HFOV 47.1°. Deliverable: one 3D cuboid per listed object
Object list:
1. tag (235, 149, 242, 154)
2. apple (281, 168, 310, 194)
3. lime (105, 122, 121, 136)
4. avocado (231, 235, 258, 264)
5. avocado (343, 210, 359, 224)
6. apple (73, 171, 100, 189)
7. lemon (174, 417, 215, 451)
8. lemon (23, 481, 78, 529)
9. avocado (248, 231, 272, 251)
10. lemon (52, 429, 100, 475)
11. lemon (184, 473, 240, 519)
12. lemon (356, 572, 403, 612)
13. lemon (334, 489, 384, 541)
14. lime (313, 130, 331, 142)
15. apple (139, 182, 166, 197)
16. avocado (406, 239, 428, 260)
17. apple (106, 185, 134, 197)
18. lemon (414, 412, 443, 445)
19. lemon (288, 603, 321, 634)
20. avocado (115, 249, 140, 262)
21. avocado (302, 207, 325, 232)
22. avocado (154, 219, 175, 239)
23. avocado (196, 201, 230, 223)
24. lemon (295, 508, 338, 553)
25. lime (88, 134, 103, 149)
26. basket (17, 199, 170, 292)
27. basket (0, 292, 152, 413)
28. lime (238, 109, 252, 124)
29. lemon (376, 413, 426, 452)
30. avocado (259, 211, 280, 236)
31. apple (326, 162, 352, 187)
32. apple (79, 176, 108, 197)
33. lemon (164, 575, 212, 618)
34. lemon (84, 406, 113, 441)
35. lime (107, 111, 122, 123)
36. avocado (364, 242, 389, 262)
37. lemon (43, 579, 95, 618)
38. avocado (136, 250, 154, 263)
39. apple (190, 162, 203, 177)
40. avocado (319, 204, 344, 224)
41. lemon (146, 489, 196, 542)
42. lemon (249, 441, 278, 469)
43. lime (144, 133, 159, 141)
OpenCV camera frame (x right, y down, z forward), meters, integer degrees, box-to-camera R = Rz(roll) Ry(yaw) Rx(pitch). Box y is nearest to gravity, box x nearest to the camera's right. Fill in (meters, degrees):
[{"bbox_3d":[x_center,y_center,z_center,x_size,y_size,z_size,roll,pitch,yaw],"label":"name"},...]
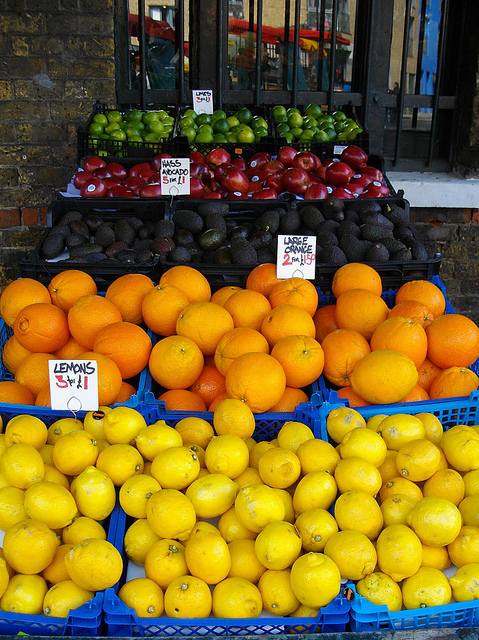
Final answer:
[{"bbox_3d":[-0.005,-1.003,3.249,0.035,0.028,0.008,-1,7,1],"label":"tag"},{"bbox_3d":[0.280,-0.685,2.708,0.136,0.121,0.159,-19,19,5],"label":"apple"},{"bbox_3d":[-0.749,-1.130,3.260,0.088,0.079,0.092,1,56,-6],"label":"lime"},{"bbox_3d":[0.017,-0.248,1.993,0.074,0.061,0.113,-25,38,-6],"label":"avocado"},{"bbox_3d":[0.457,-0.426,2.248,0.061,0.034,0.059,23,41,16],"label":"avocado"},{"bbox_3d":[-0.770,-0.703,2.765,0.121,0.049,0.089,-3,24,-22],"label":"apple"},{"bbox_3d":[-0.107,0.253,1.284,0.089,0.064,0.070,12,31,17],"label":"lemon"},{"bbox_3d":[-0.322,0.338,0.986,0.102,0.070,0.077,-15,-5,28],"label":"lemon"},{"bbox_3d":[0.081,-0.307,2.127,0.060,0.049,0.094,-9,14,28],"label":"avocado"},{"bbox_3d":[-0.330,0.270,1.107,0.054,0.054,0.068,-45,-14,34],"label":"lemon"},{"bbox_3d":[-0.046,0.312,1.022,0.100,0.054,0.065,-14,30,-30],"label":"lemon"},{"bbox_3d":[0.226,0.429,0.869,0.070,0.049,0.051,7,-26,-25],"label":"lemon"},{"bbox_3d":[0.197,0.346,0.997,0.076,0.068,0.095,8,-20,-44],"label":"lemon"},{"bbox_3d":[0.499,-1.075,3.271,0.094,0.072,0.075,7,-21,25],"label":"lime"},{"bbox_3d":[-0.413,-0.605,2.580,0.096,0.046,0.094,5,16,33],"label":"apple"},{"bbox_3d":[0.661,-0.260,2.026,0.038,0.049,0.100,13,28,11],"label":"avocado"},{"bbox_3d":[-0.570,-0.612,2.608,0.103,0.052,0.073,-5,2,1],"label":"apple"},{"bbox_3d":[0.428,0.237,1.221,0.067,0.070,0.062,-5,4,1],"label":"lemon"},{"bbox_3d":[0.104,0.474,0.879,0.043,0.023,0.041,1,6,15],"label":"lemon"},{"bbox_3d":[-0.410,-0.235,1.991,0.057,0.035,0.068,2,8,1],"label":"avocado"},{"bbox_3d":[0.294,-0.398,2.217,0.084,0.103,0.062,-22,13,-19],"label":"avocado"},{"bbox_3d":[-0.298,-0.365,2.183,0.086,0.063,0.063,-31,28,7],"label":"avocado"},{"bbox_3d":[-0.097,-0.471,2.375,0.144,0.072,0.071,-17,29,-18],"label":"avocado"},{"bbox_3d":[0.130,0.354,0.940,0.077,0.080,0.073,1,-13,-8],"label":"lemon"},{"bbox_3d":[-0.825,-1.020,3.138,0.072,0.075,0.126,-4,20,-13],"label":"lime"},{"bbox_3d":[-0.573,-0.321,2.139,0.557,0.146,0.512,1,31,-1],"label":"basket"},{"bbox_3d":[-0.431,0.089,1.440,0.367,0.119,0.327,4,51,-2],"label":"basket"},{"bbox_3d":[0.042,-1.319,3.527,0.089,0.093,0.082,12,47,11],"label":"lime"},{"bbox_3d":[0.336,0.246,1.192,0.095,0.068,0.066,4,51,-14],"label":"lemon"},{"bbox_3d":[0.123,-0.388,2.198,0.071,0.060,0.108,7,29,7],"label":"avocado"},{"bbox_3d":[0.517,-0.751,2.836,0.090,0.118,0.124,-16,25,-38],"label":"apple"},{"bbox_3d":[-0.698,-0.636,2.608,0.107,0.065,0.119,-17,39,4],"label":"apple"},{"bbox_3d":[-0.079,0.432,0.852,0.073,0.050,0.055,-1,20,-4],"label":"lemon"},{"bbox_3d":[-0.313,0.224,1.198,0.072,0.072,0.066,-10,0,-9],"label":"lemon"},{"bbox_3d":[-0.751,-1.221,3.294,0.082,0.065,0.092,-3,20,-11],"label":"lime"},{"bbox_3d":[0.495,-0.243,1.967,0.088,0.055,0.112,5,19,13],"label":"avocado"},{"bbox_3d":[-0.273,0.429,0.877,0.071,0.048,0.051,-8,16,-16],"label":"lemon"},{"bbox_3d":[-0.333,-0.225,1.966,0.055,0.038,0.041,-24,49,-18],"label":"avocado"},{"bbox_3d":[-0.222,-0.762,2.784,0.055,0.065,0.137,2,19,5],"label":"apple"},{"bbox_3d":[0.378,-0.432,2.220,0.060,0.057,0.099,-44,31,-13],"label":"avocado"},{"bbox_3d":[-0.120,0.347,0.962,0.074,0.091,0.078,-8,21,-22],"label":"lemon"},{"bbox_3d":[0.050,0.292,1.180,0.055,0.056,0.051,2,-11,-12],"label":"lemon"},{"bbox_3d":[-0.531,-1.110,3.317,0.088,0.040,0.089,-2,19,-7],"label":"lime"}]
